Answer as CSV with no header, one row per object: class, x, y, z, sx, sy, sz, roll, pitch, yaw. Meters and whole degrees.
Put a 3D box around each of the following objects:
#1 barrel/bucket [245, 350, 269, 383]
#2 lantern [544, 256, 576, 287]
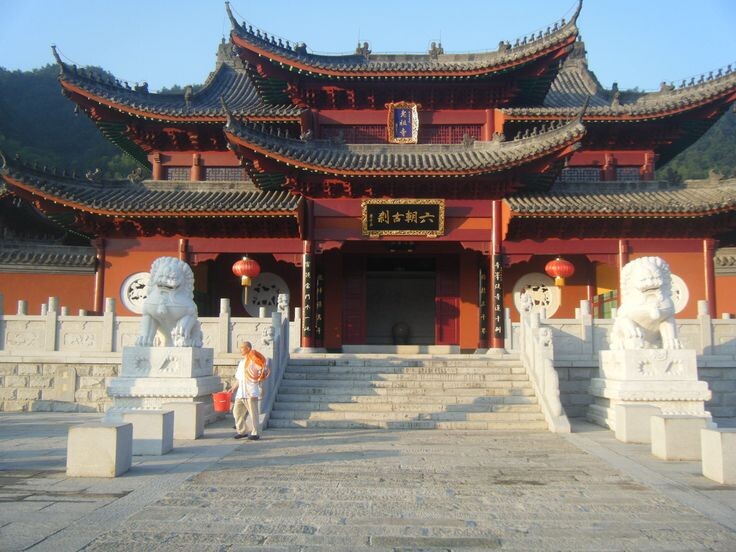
barrel/bucket,-2.253,1.832,15.846,0.462,0.606,0.306,-1,10,-5
lantern,5.492,-0.152,22.295,1.065,0.889,0.965,-2,-7,16
